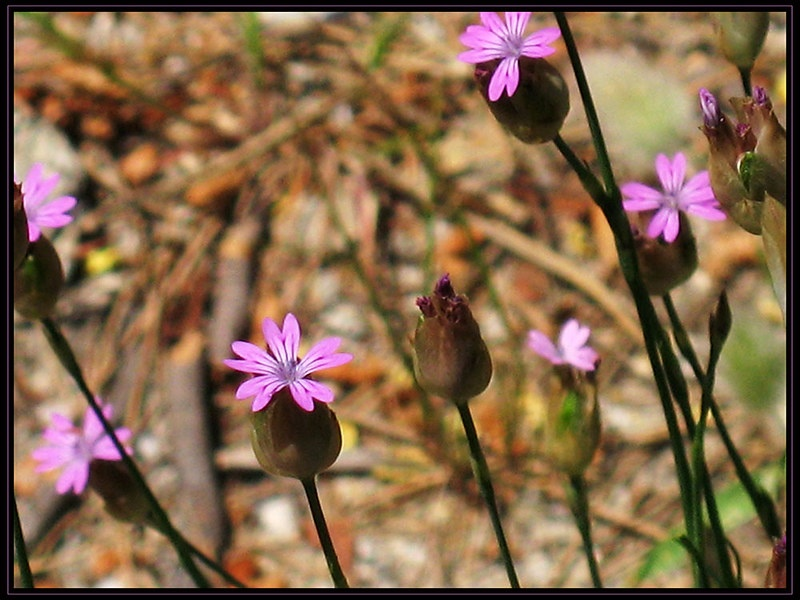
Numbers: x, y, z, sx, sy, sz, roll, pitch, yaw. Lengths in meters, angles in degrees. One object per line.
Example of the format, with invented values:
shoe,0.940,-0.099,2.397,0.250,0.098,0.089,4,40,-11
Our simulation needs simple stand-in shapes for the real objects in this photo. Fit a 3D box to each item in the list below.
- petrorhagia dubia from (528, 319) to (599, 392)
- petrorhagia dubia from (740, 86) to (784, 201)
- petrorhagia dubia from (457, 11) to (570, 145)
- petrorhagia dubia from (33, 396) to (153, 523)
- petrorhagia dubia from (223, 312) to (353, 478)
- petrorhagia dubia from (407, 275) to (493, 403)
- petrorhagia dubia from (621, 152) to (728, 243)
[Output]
petrorhagia dubia,0.275,0.092,1.513,0.115,0.127,0.061,-34,-59,-12
petrorhagia dubia,0.557,-0.224,1.366,0.052,0.150,0.080,-13,-39,8
petrorhagia dubia,0.179,-0.337,1.419,0.154,0.208,0.144,-14,-39,8
petrorhagia dubia,-0.612,0.330,1.810,0.171,0.174,0.243,-50,-47,8
petrorhagia dubia,-0.221,0.197,1.742,0.218,0.241,0.353,-14,-61,-24
petrorhagia dubia,0.081,0.067,1.414,0.122,0.163,0.155,-2,-40,-8
petrorhagia dubia,0.478,-0.179,1.565,0.134,0.037,0.141,-3,-11,33
